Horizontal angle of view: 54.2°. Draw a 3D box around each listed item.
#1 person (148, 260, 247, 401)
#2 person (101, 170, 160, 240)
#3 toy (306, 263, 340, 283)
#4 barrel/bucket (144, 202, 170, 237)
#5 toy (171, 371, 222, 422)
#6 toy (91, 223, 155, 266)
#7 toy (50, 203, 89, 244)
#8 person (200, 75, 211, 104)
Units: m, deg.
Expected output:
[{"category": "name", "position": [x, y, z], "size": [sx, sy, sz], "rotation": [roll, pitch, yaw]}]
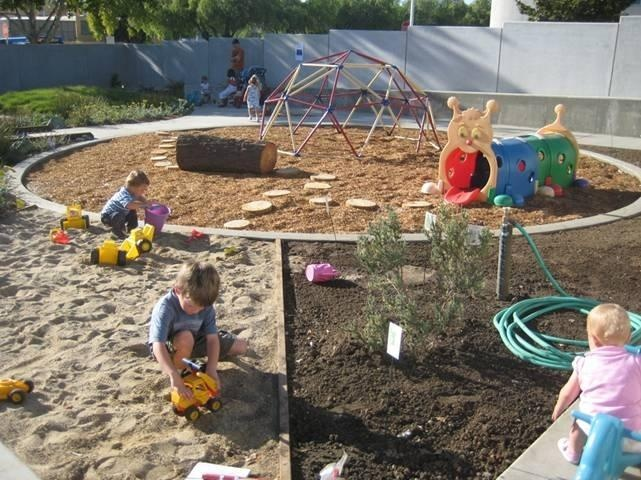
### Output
[{"category": "person", "position": [-1.009, 0.670, 5.049], "size": [0.635, 1.018, 0.971], "rotation": [21, 25, 32]}, {"category": "person", "position": [-2.420, -0.566, 8.045], "size": [0.791, 1.090, 0.693], "rotation": [5, 20, -9]}, {"category": "toy", "position": [0.019, 0.349, 6.678], "size": [0.256, 0.202, 0.277], "rotation": [0, -3, 6]}, {"category": "barrel/bucket", "position": [-2.008, -0.251, 7.711], "size": [0.269, 0.281, 0.263], "rotation": [13, 35, -9]}, {"category": "toy", "position": [-0.953, 1.178, 4.944], "size": [0.315, 0.363, 0.254], "rotation": [-16, 14, -26]}, {"category": "toy", "position": [-2.246, 0.049, 7.188], "size": [0.533, 0.308, 0.652], "rotation": [2, 18, 11]}, {"category": "toy", "position": [-3.171, -0.185, 8.173], "size": [0.351, 0.327, 0.628], "rotation": [-7, -13, -24]}, {"category": "person", "position": [-4.209, -5.586, 23.107], "size": [0.393, 0.938, 0.971], "rotation": [-5, 18, -10]}]
